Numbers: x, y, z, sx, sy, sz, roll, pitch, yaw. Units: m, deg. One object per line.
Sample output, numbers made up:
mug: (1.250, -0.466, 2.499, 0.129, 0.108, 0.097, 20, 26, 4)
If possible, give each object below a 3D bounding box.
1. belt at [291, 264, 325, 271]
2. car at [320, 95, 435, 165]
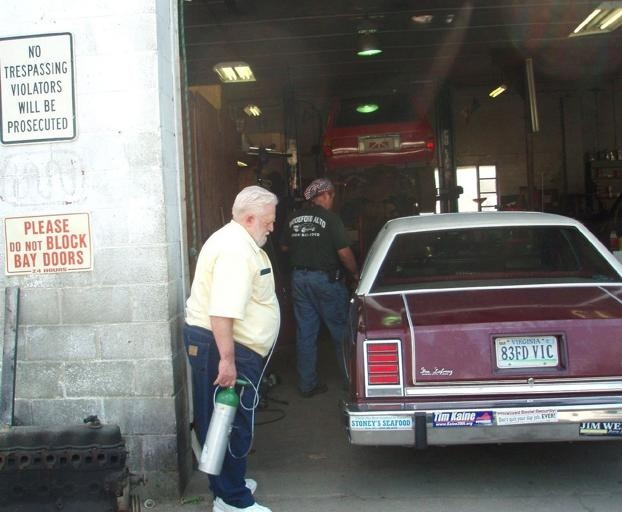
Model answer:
belt: (-0.029, 0.116, 6.511, 0.349, 0.051, 0.067, 2, 8, 32)
car: (0.941, -1.758, 9.782, 1.538, 0.987, 0.668, -2, 7, 2)
